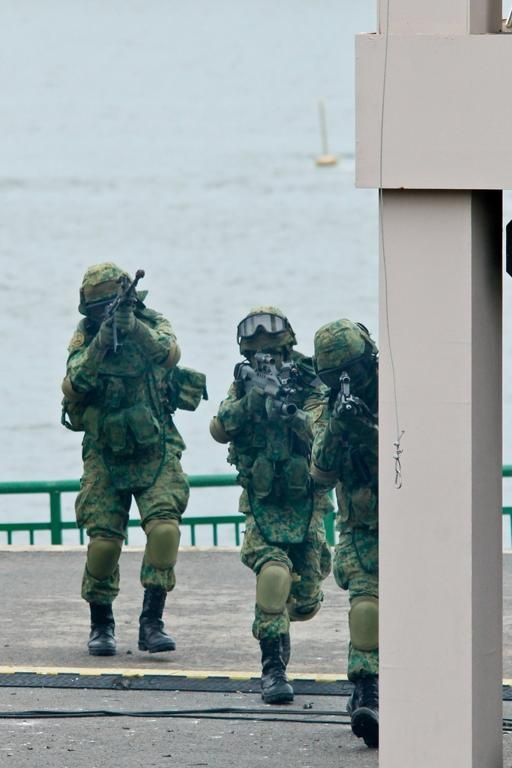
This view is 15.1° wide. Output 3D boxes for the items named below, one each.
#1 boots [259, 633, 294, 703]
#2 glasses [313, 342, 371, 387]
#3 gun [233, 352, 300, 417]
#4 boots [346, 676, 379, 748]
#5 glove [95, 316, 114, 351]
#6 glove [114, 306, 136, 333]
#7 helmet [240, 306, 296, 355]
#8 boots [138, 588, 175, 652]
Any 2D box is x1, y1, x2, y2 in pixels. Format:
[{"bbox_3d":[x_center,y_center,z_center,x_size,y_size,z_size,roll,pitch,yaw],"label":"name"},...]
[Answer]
[{"bbox_3d":[0.073,1.099,7.495,0.124,0.284,0.274,0,0,1],"label":"boots"},{"bbox_3d":[0.344,-0.043,7.359,0.132,0.204,0.104,-13,7,3],"label":"glasses"},{"bbox_3d":[0.018,-0.017,8.002,0.088,0.221,0.452,-12,12,-23],"label":"gun"},{"bbox_3d":[0.367,1.142,6.741,0.099,0.243,0.263,0,0,1],"label":"boots"},{"bbox_3d":[-0.690,-0.215,8.722,0.039,0.130,0.085,3,-15,-7],"label":"glove"},{"bbox_3d":[-0.591,-0.281,8.675,0.068,0.111,0.108,0,-26,-1],"label":"glove"},{"bbox_3d":[0.031,-0.211,8.158,0.183,0.185,0.202,-5,-13,6],"label":"helmet"},{"bbox_3d":[-0.452,1.065,8.588,0.111,0.290,0.262,5,-7,-29],"label":"boots"}]
